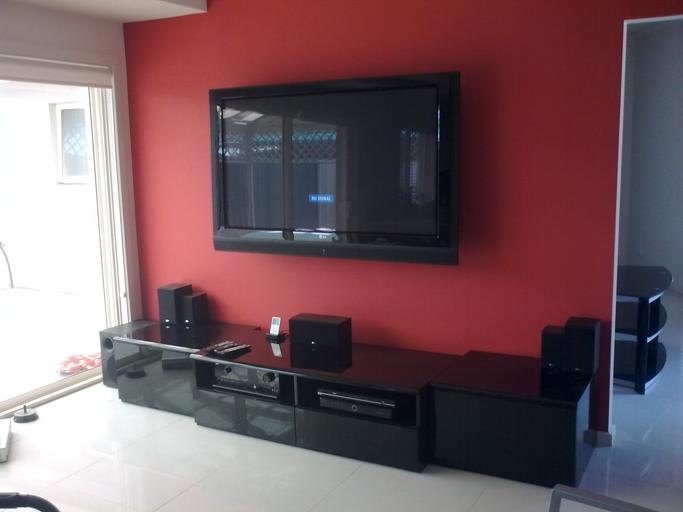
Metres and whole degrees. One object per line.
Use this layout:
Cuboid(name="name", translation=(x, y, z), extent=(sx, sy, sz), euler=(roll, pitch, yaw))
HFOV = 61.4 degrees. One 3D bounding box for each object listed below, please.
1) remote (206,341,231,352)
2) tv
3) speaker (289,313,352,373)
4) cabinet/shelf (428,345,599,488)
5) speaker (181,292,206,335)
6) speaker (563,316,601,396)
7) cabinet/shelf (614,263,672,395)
Cuboid(name="remote", translation=(-0.880, 0.651, 4.150), extent=(0.100, 0.024, 0.070), euler=(-9, 8, -35))
Cuboid(name="tv", translation=(-0.001, -0.632, 3.993), extent=(1.427, 0.996, 0.097), euler=(3, 10, 22))
Cuboid(name="speaker", translation=(-0.078, 0.646, 4.352), extent=(0.360, 0.458, 0.678), euler=(-4, -8, 27))
Cuboid(name="cabinet/shelf", translation=(1.037, 0.917, 3.516), extent=(0.739, 0.461, 0.761), euler=(2, 6, 27))
Cuboid(name="speaker", translation=(-1.235, 0.465, 4.766), extent=(0.260, 0.335, 0.187), euler=(0, 0, -4))
Cuboid(name="speaker", translation=(1.521, 0.641, 3.645), extent=(0.243, 0.431, 0.218), euler=(-2, 13, 22))
Cuboid(name="cabinet/shelf", translation=(1.893, 0.546, 3.726), extent=(0.366, 0.620, 0.417), euler=(1, 4, 14))
